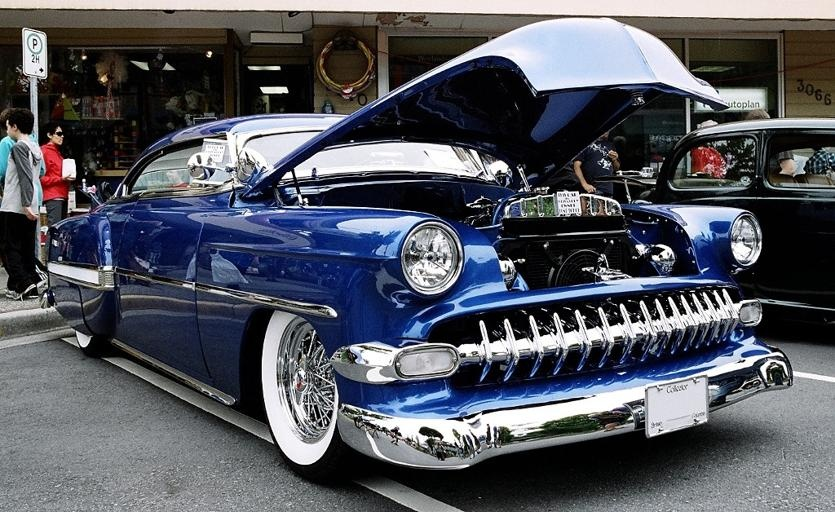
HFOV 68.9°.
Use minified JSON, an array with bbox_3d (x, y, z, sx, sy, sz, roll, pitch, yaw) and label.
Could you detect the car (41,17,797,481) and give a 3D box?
[{"bbox_3d":[-0.724,0.050,4.849,2.775,1.983,5.059,-3,6,-40],"label":"car"}]
